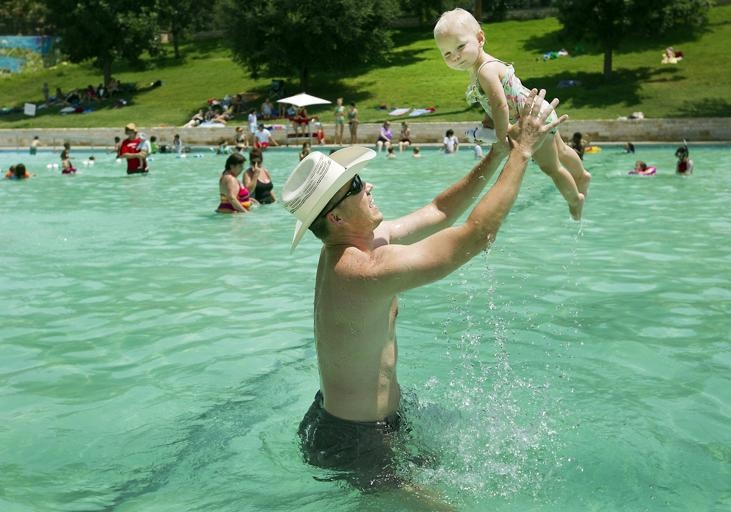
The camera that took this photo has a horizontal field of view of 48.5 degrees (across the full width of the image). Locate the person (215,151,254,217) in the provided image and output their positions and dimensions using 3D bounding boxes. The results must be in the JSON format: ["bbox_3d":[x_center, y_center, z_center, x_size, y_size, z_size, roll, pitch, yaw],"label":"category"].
[{"bbox_3d":[-2.515,-1.393,15.909,0.811,1.177,0.853,0,15,-12],"label":"person"}]

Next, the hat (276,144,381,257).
[{"bbox_3d":[-0.346,-0.534,7.583,0.849,0.874,0.424,-8,15,-7],"label":"hat"}]

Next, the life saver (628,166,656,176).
[{"bbox_3d":[6.659,-2.015,19.622,0.619,0.184,0.559,1,15,22],"label":"life saver"}]

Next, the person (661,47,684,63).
[{"bbox_3d":[13.689,-8.913,36.216,0.901,0.704,1.277,0,15,20],"label":"person"}]
